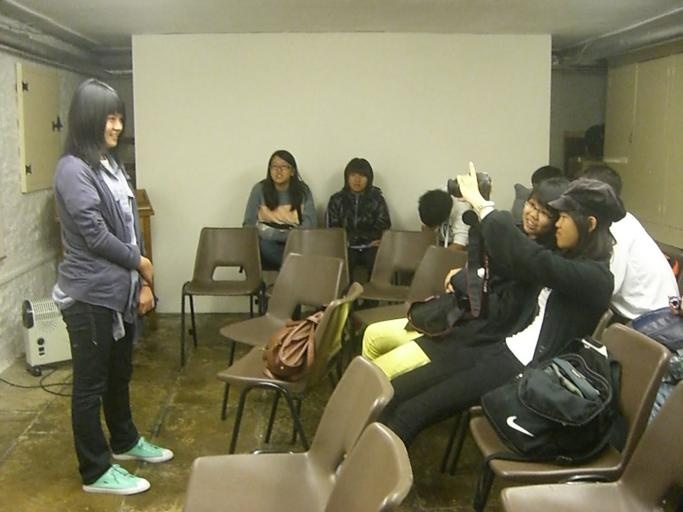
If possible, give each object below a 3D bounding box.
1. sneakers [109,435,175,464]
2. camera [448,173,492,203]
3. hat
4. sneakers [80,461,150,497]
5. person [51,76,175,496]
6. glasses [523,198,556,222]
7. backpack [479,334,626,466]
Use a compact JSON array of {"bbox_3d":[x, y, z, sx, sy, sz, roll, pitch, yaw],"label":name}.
[{"bbox_3d":[-1.091,1.055,3.073,0.339,0.147,0.128,1,4,-7],"label":"sneakers"},{"bbox_3d":[0.713,-0.384,3.041,0.224,0.110,0.235,0,-13,2],"label":"camera"},{"bbox_3d":[1.117,-0.255,2.508,0.357,0.191,0.258,20,6,23],"label":"hat"},{"bbox_3d":[-1.125,1.114,2.756,0.295,0.127,0.146,1,3,-6],"label":"sneakers"},{"bbox_3d":[-1.133,0.173,2.715,0.486,2.012,0.437,-9,16,-33],"label":"person"},{"bbox_3d":[0.943,-0.225,2.637,0.093,0.058,0.122,36,-1,-9],"label":"glasses"},{"bbox_3d":[0.839,0.570,2.162,0.475,0.215,0.375,-12,33,-4],"label":"backpack"}]
